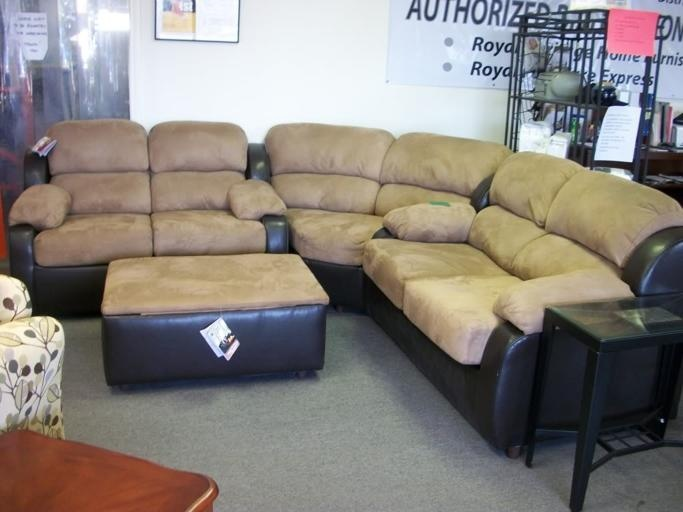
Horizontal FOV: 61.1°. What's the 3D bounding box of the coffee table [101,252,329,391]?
[{"bbox_3d":[-0.697,0.364,3.183,1.133,0.540,0.575,-4,18,-17],"label":"coffee table"}]
